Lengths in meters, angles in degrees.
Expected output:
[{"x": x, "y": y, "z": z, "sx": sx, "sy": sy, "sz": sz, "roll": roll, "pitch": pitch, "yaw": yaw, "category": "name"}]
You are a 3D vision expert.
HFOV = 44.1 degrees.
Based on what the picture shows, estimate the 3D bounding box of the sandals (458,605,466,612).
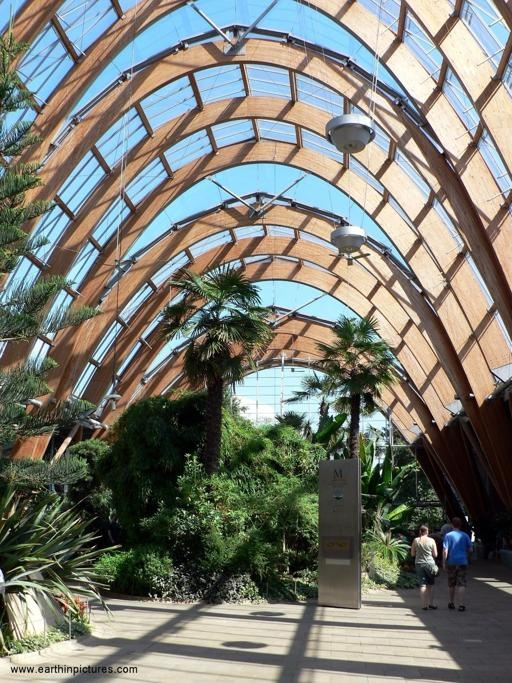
[{"x": 3.131, "y": 4.033, "z": 9.591, "sx": 0.068, "sy": 0.095, "sz": 0.222, "roll": -2, "pitch": -11, "yaw": 15, "category": "sandals"}]

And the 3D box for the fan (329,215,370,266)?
[{"x": 1.997, "y": -2.109, "z": 13.673, "sx": 0.841, "sy": 0.611, "sz": 0.824, "roll": 3, "pitch": -4, "yaw": -34, "category": "fan"}]

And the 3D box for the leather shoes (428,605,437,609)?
[{"x": 2.731, "y": 4.083, "z": 9.709, "sx": 0.154, "sy": 0.063, "sz": 0.054, "roll": 8, "pitch": -10, "yaw": -35, "category": "leather shoes"}]

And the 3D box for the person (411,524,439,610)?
[{"x": 2.664, "y": 3.551, "z": 9.978, "sx": 0.379, "sy": 1.265, "sz": 1.769, "roll": 1, "pitch": -23, "yaw": 15, "category": "person"}]
